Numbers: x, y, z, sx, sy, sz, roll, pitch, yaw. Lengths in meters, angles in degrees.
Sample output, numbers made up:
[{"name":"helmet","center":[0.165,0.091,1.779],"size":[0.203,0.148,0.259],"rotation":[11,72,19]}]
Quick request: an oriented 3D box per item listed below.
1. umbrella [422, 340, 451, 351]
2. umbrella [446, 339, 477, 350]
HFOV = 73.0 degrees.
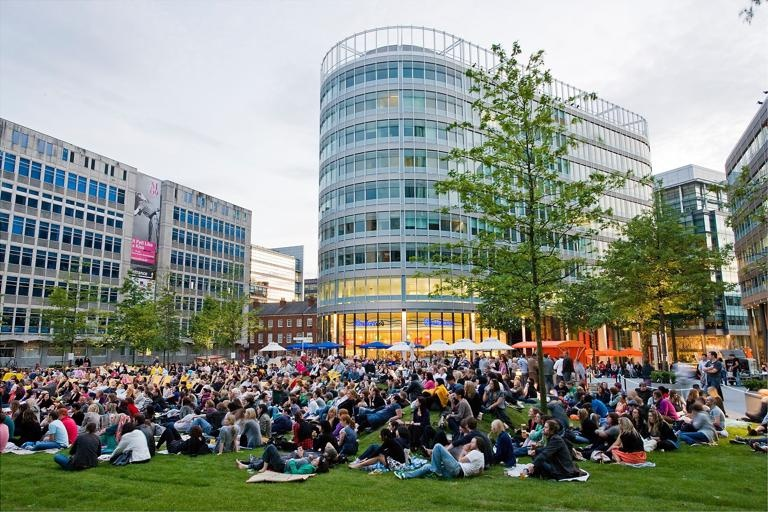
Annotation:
[{"name":"umbrella","center":[4.433,7.176,41.129],"size":[1.481,0.528,1.461],"rotation":[10,-17,-44]},{"name":"umbrella","center":[6.128,6.963,40.351],"size":[1.300,0.626,1.283],"rotation":[3,-10,-12]}]
